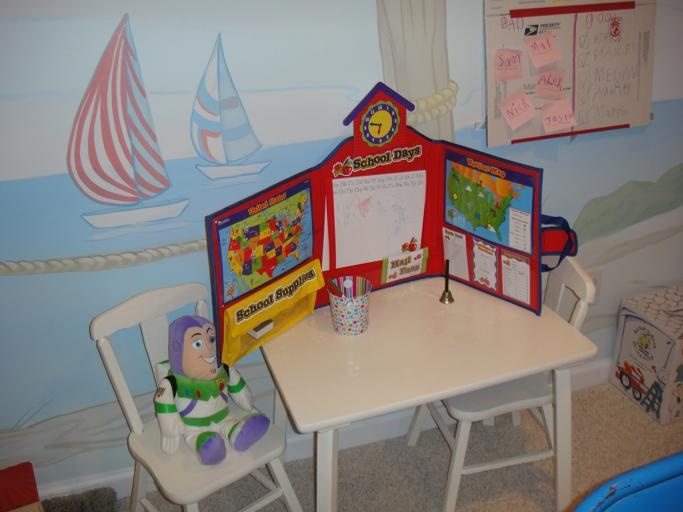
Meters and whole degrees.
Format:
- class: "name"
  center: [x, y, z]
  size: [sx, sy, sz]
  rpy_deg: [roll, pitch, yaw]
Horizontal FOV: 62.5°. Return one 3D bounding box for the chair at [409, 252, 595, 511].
- class: "chair"
  center: [0.567, 0.457, 2.038]
  size: [0.537, 0.954, 0.550]
  rpy_deg: [-5, 26, -6]
